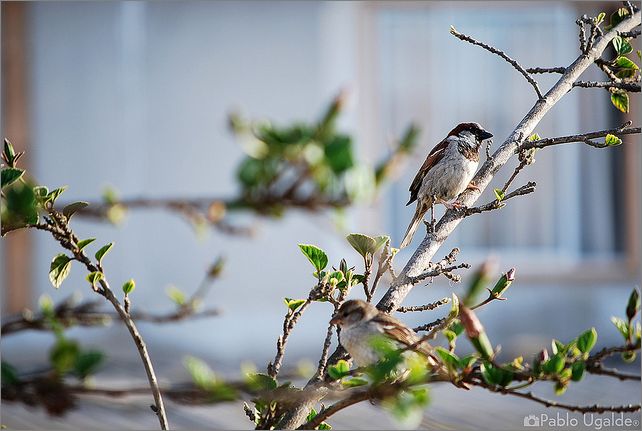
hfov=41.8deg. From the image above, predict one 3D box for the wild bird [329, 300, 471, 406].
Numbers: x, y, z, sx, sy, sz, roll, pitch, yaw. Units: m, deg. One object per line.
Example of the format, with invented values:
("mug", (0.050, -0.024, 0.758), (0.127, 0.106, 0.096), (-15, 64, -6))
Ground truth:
("wild bird", (0.561, 0.997, 6.775), (1.045, 0.621, 0.469), (4, -17, -28))
